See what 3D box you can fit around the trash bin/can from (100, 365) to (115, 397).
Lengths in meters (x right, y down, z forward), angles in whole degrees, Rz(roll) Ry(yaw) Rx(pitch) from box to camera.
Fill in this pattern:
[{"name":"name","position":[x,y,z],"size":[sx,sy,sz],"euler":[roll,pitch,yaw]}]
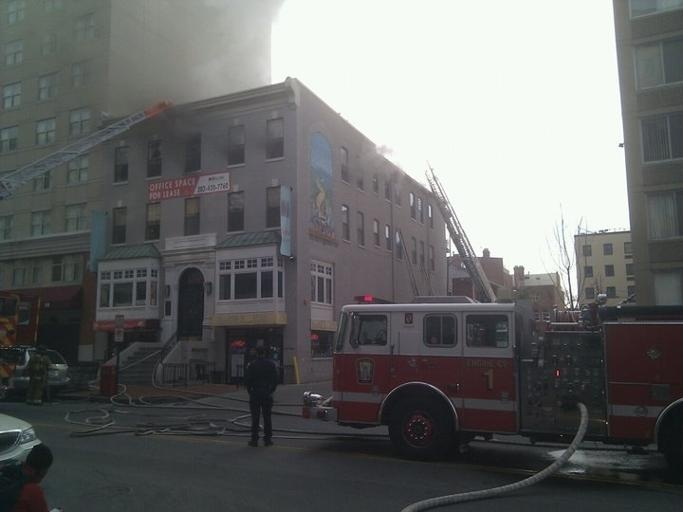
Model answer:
[{"name":"trash bin/can","position":[-8.661,4.583,23.816],"size":[0.740,1.115,0.395],"euler":[-9,-12,35]}]

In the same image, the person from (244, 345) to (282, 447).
[{"name":"person","position":[-2.012,3.397,15.866],"size":[0.742,2.378,0.733],"euler":[0,-10,-8]}]

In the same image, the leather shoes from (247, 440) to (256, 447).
[{"name":"leather shoes","position":[-2.142,4.458,15.410],"size":[0.225,0.139,0.141],"euler":[0,-10,-8]}]

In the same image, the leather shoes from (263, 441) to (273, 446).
[{"name":"leather shoes","position":[-1.772,4.471,15.453],"size":[0.195,0.113,0.146],"euler":[-2,-6,5]}]

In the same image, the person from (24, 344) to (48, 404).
[{"name":"person","position":[-10.405,4.138,21.933],"size":[0.606,1.738,0.700],"euler":[7,-13,-41]}]
